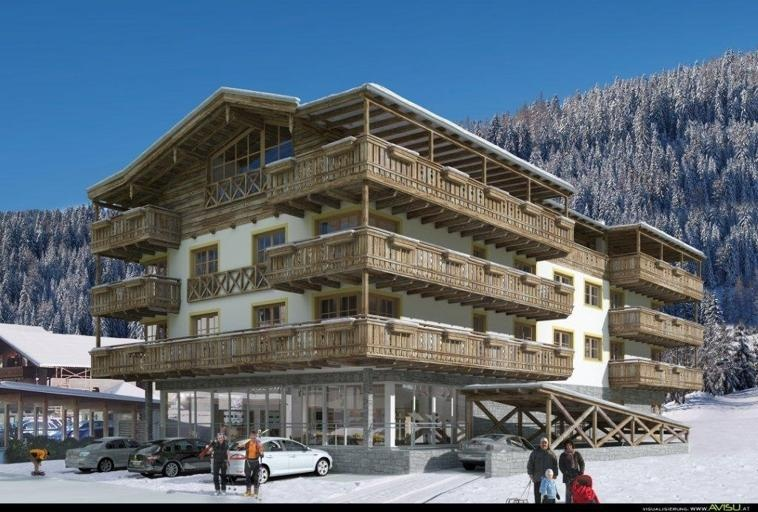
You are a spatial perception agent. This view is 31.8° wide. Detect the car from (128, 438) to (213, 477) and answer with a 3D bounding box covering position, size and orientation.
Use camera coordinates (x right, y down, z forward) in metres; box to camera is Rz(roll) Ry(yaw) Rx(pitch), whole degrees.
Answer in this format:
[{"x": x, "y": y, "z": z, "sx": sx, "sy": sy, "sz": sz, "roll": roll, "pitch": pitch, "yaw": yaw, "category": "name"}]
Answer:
[{"x": -15.960, "y": 15.658, "z": 101.902, "sx": 6.163, "sy": 2.944, "sz": 3.103, "roll": 3, "pitch": -6, "yaw": -28, "category": "car"}]
